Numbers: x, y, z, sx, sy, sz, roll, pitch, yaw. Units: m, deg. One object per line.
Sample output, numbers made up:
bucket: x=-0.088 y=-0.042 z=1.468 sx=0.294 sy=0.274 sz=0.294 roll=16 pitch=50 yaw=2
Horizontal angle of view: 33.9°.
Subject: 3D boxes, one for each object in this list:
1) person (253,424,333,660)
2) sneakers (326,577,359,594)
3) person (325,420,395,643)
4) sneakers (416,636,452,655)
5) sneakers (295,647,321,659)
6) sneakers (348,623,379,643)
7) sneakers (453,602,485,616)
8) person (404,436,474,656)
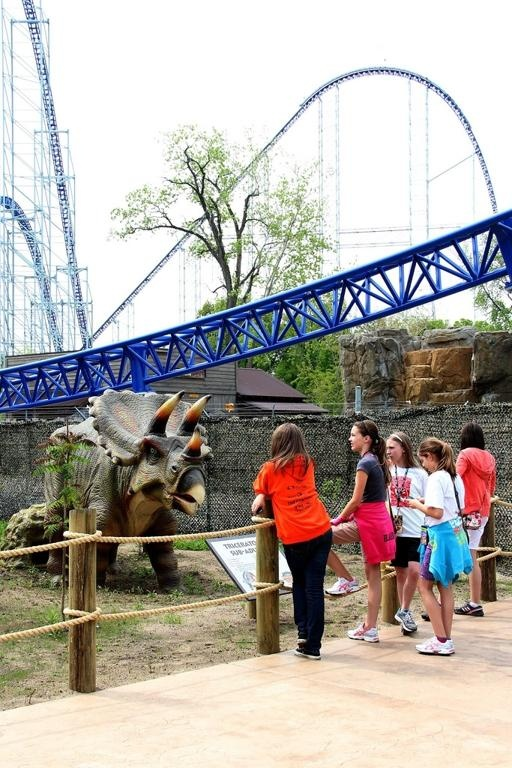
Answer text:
person: x=0.200 y=0.905 z=4.905 sx=0.431 sy=1.350 sz=0.291 roll=-4 pitch=-8 yaw=23
sneakers: x=0.540 y=1.278 z=5.305 sx=0.239 sy=0.118 sz=0.094 roll=-7 pitch=-11 yaw=1
person: x=0.645 y=0.923 z=5.279 sx=0.436 sy=1.402 sz=0.630 roll=-2 pitch=-7 yaw=8
sneakers: x=1.043 y=1.544 z=4.959 sx=0.240 sy=0.103 sz=0.089 roll=1 pitch=-9 yaw=2
sneakers: x=0.298 y=1.558 z=4.869 sx=0.057 sy=0.062 sz=0.163 roll=1 pitch=2 yaw=-39
sneakers: x=0.664 y=1.570 z=5.319 sx=0.089 sy=0.091 sz=0.214 roll=4 pitch=-4 yaw=-45
sneakers: x=1.608 y=1.714 z=6.398 sx=0.241 sy=0.099 sz=0.085 roll=1 pitch=-3 yaw=25
person: x=1.121 y=0.960 z=5.004 sx=0.384 sy=1.285 sz=0.314 roll=1 pitch=-7 yaw=-12
